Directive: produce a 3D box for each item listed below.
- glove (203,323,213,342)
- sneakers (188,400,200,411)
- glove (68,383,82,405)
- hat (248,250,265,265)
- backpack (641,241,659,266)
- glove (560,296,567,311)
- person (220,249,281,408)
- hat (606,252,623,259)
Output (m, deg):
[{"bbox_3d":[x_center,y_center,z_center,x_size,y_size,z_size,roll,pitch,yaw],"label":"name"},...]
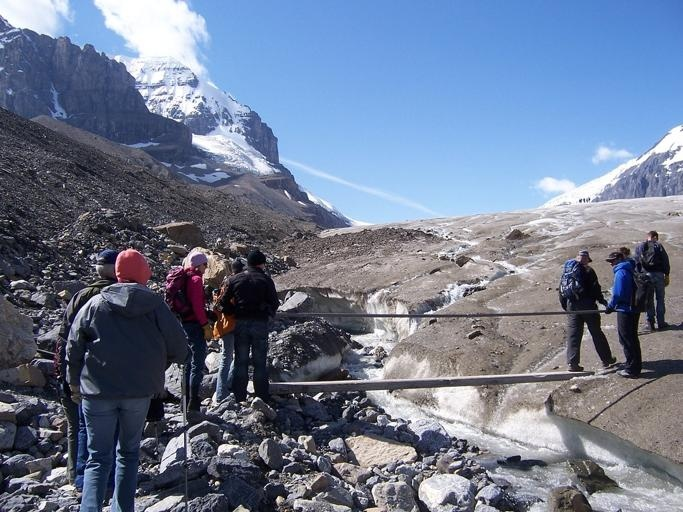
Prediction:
[{"bbox_3d":[-1.927,1.081,8.312,0.109,0.247,0.247,-4,-9,-7],"label":"glove"},{"bbox_3d":[-2.126,2.150,8.391,0.165,0.123,0.145,-15,-7,9],"label":"sneakers"},{"bbox_3d":[-3.016,1.545,6.551,0.186,0.135,0.451,-9,-27,-24],"label":"glove"},{"bbox_3d":[-1.322,0.031,9.016,0.297,0.198,0.255,-6,9,-11],"label":"hat"},{"bbox_3d":[5.957,-0.045,11.199,0.365,0.510,0.387,-9,-22,29],"label":"backpack"},{"bbox_3d":[4.004,0.849,10.477,0.123,0.272,0.242,-16,-14,23],"label":"glove"},{"bbox_3d":[-1.395,1.053,8.810,0.812,2.361,0.744,1,-12,-31],"label":"person"},{"bbox_3d":[4.757,0.011,10.112,0.232,0.105,0.155,10,20,23],"label":"hat"}]
